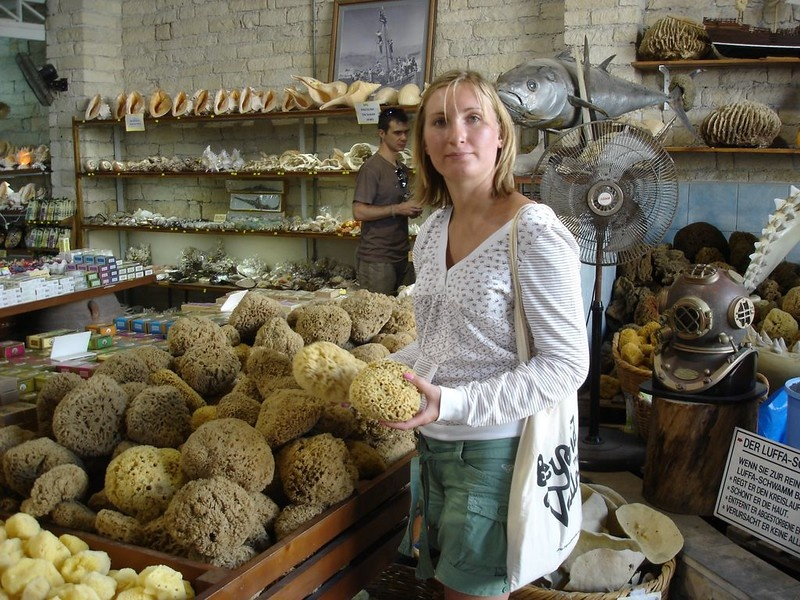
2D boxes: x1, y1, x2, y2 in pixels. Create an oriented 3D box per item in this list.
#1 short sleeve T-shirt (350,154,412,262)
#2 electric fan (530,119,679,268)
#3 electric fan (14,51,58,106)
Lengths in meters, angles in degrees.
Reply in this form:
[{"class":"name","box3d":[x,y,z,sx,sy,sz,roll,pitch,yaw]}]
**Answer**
[{"class":"short sleeve T-shirt","box3d":[-0.091,-0.668,4.049,0.333,0.721,0.612,12,20,36]},{"class":"electric fan","box3d":[0.824,-0.303,2.394,0.650,0.672,0.385,3,-23,6]},{"class":"electric fan","box3d":[-3.984,-2.437,6.314,0.272,0.603,1.170,-8,17,-34]}]
